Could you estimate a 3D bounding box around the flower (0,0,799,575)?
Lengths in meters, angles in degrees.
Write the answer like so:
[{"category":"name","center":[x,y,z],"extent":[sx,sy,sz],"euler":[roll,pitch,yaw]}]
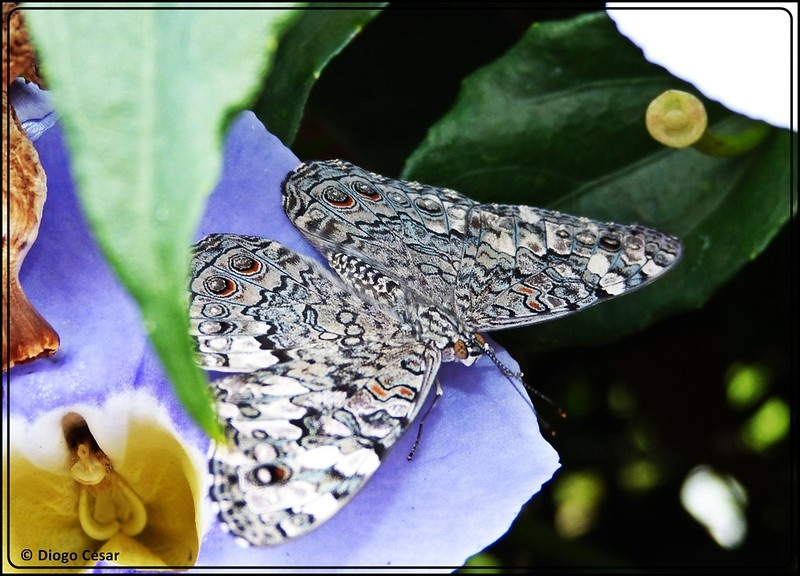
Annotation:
[{"category":"flower","center":[-0.206,0.084,1.099],"extent":[0.619,0.238,0.631],"euler":[-32,76,-7]}]
